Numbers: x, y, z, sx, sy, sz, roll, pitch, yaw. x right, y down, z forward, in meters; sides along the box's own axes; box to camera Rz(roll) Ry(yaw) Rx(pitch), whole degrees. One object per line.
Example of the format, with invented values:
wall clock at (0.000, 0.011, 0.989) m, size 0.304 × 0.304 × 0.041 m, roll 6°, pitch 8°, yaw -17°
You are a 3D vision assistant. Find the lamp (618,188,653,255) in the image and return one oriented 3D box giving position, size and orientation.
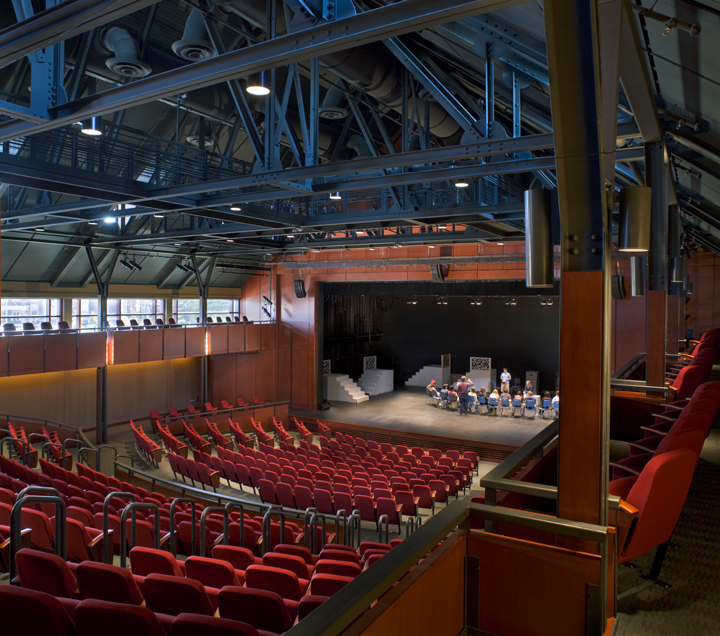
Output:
lamp at (1.970, -0.723, 4.413) m, size 0.206 × 0.470 × 0.228 m, roll -1°, pitch -1°, yaw 23°

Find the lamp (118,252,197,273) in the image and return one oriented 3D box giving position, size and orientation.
lamp at (-7.936, -2.145, 24.423) m, size 1.282 × 0.757 × 4.030 m, roll -1°, pitch -1°, yaw 34°

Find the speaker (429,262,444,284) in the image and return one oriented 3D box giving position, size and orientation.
speaker at (2.881, -1.670, 23.128) m, size 0.574 × 1.013 × 0.567 m, roll 1°, pitch 2°, yaw 12°

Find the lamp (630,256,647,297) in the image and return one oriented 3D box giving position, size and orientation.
lamp at (2.841, -0.424, 6.263) m, size 0.143 × 0.387 × 0.376 m, roll -1°, pitch -1°, yaw 25°

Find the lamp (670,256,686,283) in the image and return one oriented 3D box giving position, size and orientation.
lamp at (3.597, -0.548, 6.971) m, size 0.134 × 0.299 × 0.387 m, roll -1°, pitch -1°, yaw 27°

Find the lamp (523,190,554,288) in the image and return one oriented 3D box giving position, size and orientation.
lamp at (1.309, -0.578, 4.485) m, size 0.179 × 0.639 × 0.177 m, roll -1°, pitch -1°, yaw 22°
